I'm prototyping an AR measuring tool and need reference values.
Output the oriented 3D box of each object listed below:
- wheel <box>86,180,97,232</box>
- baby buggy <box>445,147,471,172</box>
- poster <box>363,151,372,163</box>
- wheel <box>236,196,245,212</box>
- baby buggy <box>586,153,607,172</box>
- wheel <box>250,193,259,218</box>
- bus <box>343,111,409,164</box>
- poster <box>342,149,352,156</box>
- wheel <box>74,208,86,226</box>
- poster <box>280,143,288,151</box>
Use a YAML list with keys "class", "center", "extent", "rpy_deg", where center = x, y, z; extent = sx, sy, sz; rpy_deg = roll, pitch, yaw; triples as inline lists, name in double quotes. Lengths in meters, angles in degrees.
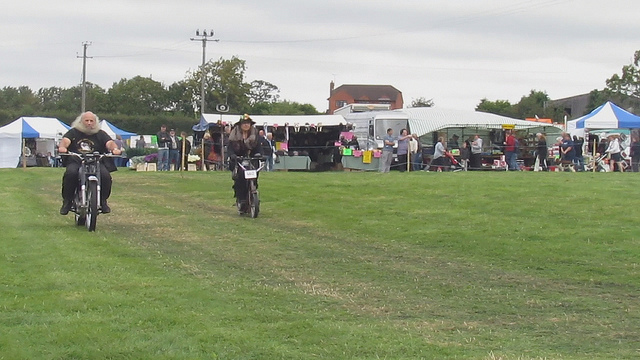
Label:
- class: "wheel"
  center: [-7.069, 0.793, 33.697]
  extent: [0.356, 1.614, 0.476]
  rpy_deg: [-2, 12, -11]
- class: "baby buggy"
  center: [6.807, -1.019, 53.691]
  extent: [1.275, 1.262, 1.124]
  rpy_deg: [0, 2, 11]
- class: "poster"
  center: [2.272, -1.113, 51.695]
  extent: [0.433, 0.443, 0.490]
  rpy_deg: [0, -2, 1]
- class: "wheel"
  center: [-2.809, 0.855, 37.252]
  extent: [0.403, 0.429, 0.476]
  rpy_deg: [1, -5, -9]
- class: "baby buggy"
  center: [13.900, -0.884, 54.444]
  extent: [0.917, 0.764, 1.464]
  rpy_deg: [3, 11, 13]
- class: "wheel"
  center: [-2.173, 0.826, 36.554]
  extent: [0.226, 0.831, 0.493]
  rpy_deg: [-2, 12, -12]
- class: "bus"
  center: [3.215, -2.633, 56.455]
  extent: [2.224, 1.731, 3.536]
  rpy_deg: [0, 0, -18]
- class: "poster"
  center: [1.353, -1.369, 52.186]
  extent: [0.388, 0.314, 0.112]
  rpy_deg: [0, 3, -1]
- class: "wheel"
  center: [-7.511, 1.136, 34.130]
  extent: [0.224, 0.566, 0.635]
  rpy_deg: [4, 1, -25]
- class: "poster"
  center: [-1.757, -1.695, 53.949]
  extent: [0.278, 0.371, 0.879]
  rpy_deg: [4, 11, 15]
